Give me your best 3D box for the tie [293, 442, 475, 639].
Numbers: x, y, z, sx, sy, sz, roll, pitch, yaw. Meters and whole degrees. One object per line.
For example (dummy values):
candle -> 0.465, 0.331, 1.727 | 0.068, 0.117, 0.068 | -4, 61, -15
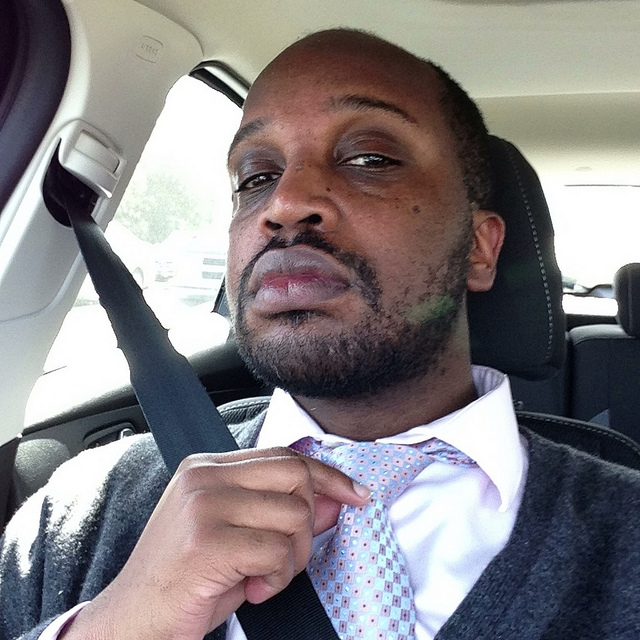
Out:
tie -> 0.096, 0.376, 1.280 | 0.291, 0.317, 0.100 | 2, -25, 13
